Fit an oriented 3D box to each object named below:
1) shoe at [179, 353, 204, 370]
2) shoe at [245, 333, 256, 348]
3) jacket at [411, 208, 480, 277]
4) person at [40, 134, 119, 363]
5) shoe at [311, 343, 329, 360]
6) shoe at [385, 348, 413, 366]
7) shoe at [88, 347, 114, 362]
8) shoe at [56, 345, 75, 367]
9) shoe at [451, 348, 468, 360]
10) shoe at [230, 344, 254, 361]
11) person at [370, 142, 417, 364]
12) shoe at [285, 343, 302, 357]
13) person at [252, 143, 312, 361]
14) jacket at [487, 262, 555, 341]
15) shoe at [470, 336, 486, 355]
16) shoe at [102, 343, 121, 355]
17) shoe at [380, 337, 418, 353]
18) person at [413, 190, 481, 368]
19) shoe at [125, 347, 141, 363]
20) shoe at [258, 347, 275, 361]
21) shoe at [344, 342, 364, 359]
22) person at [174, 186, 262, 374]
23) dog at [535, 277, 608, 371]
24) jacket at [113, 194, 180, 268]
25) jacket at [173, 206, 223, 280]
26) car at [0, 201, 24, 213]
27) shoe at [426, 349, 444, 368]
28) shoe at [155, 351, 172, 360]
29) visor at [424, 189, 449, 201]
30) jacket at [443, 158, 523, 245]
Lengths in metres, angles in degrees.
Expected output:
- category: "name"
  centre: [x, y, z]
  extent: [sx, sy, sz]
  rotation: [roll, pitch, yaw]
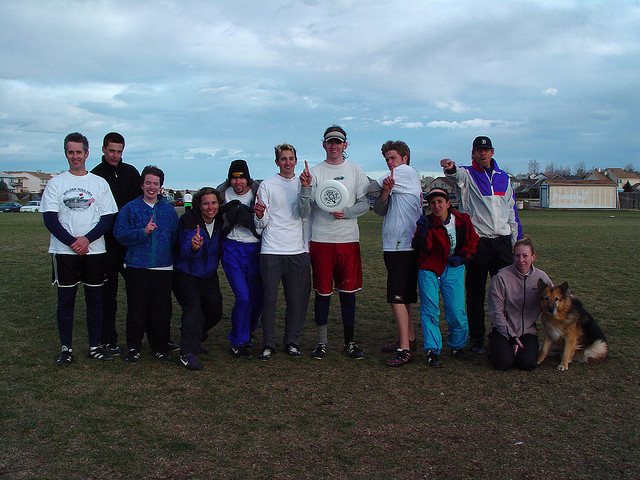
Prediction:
- category: "shoe"
  centre: [-1.607, 1.497, 5.963]
  extent: [0.314, 0.138, 0.131]
  rotation: [17, 30, 23]
- category: "shoe"
  centre: [-0.998, 1.399, 6.780]
  extent: [0.078, 0.233, 0.108]
  rotation: [-5, -19, 30]
- category: "jacket"
  centre: [1.611, 0.033, 6.284]
  extent: [1.073, 0.866, 0.542]
  rotation: [2, 6, -21]
- category: "person"
  centre: [-2.983, 0.119, 5.975]
  extent: [0.834, 2.809, 0.590]
  rotation: [-5, 11, -30]
- category: "shoe"
  centre: [-0.003, 1.465, 6.388]
  extent: [0.151, 0.147, 0.278]
  rotation: [4, 10, 18]
- category: "shoe"
  centre: [1.045, 1.496, 6.112]
  extent: [0.406, 0.178, 0.138]
  rotation: [0, -4, -36]
- category: "shoe"
  centre: [-2.753, 1.460, 6.094]
  extent: [0.414, 0.173, 0.141]
  rotation: [3, 3, 6]
- category: "shoe"
  centre: [-3.182, 1.418, 5.906]
  extent: [0.134, 0.197, 0.199]
  rotation: [-1, 10, -13]
- category: "shoe"
  centre: [1.850, 1.501, 6.301]
  extent: [0.090, 0.098, 0.248]
  rotation: [-4, 0, -24]
- category: "shoe"
  centre: [-1.053, 1.465, 6.325]
  extent: [0.340, 0.151, 0.133]
  rotation: [5, 12, 37]
- category: "person"
  centre: [1.051, 0.138, 6.406]
  extent: [0.601, 2.826, 1.113]
  rotation: [0, 9, -7]
- category: "shoe"
  centre: [-0.365, 1.458, 6.432]
  extent: [0.210, 0.159, 0.185]
  rotation: [0, 10, -6]
- category: "person"
  centre: [-0.486, 0.138, 6.390]
  extent: [0.770, 2.775, 0.703]
  rotation: [-1, 9, -8]
- category: "jacket"
  centre: [2.671, 0.813, 6.227]
  extent: [0.864, 0.984, 0.794]
  rotation: [5, 7, 17]
- category: "shoe"
  centre: [2.190, 1.453, 6.587]
  extent: [0.135, 0.273, 0.385]
  rotation: [1, -12, -3]
- category: "shoe"
  centre: [-2.758, 1.431, 6.284]
  extent: [0.293, 0.121, 0.099]
  rotation: [7, -3, 13]
- category: "shoe"
  centre: [1.145, 1.433, 6.677]
  extent: [0.599, 0.247, 0.197]
  rotation: [2, -4, -20]
- category: "person"
  centre: [1.632, 0.456, 6.242]
  extent: [0.777, 2.182, 0.551]
  rotation: [-6, 11, -34]
- category: "shoe"
  centre: [-2.395, 1.457, 6.064]
  extent: [0.154, 0.164, 0.116]
  rotation: [-3, 10, -22]
- category: "shoe"
  centre: [-0.687, 1.477, 6.336]
  extent: [0.149, 0.151, 0.285]
  rotation: [9, 13, 40]
- category: "shoe"
  centre: [0.463, 1.457, 6.427]
  extent: [0.191, 0.169, 0.381]
  rotation: [-3, 10, -22]
- category: "person"
  centre: [-1.533, 0.428, 6.305]
  extent: [0.659, 2.174, 1.079]
  rotation: [7, 11, 33]
- category: "dog"
  centre: [3.213, 1.065, 6.041]
  extent: [0.851, 1.072, 0.386]
  rotation: [0, 9, -5]
- category: "jacket"
  centre: [-2.231, -0.094, 6.207]
  extent: [0.538, 0.892, 0.963]
  rotation: [12, 10, 35]
- category: "jacket"
  centre: [-1.626, 0.037, 6.295]
  extent: [0.493, 0.919, 0.622]
  rotation: [4, 10, 21]
- category: "car"
  centre: [-37.316, -3.876, 57.396]
  extent: [1.773, 0.871, 2.804]
  rotation: [-2, 10, -16]
- category: "shoe"
  centre: [1.451, 1.503, 6.046]
  extent: [0.110, 0.135, 0.301]
  rotation: [-7, 1, -20]
- category: "shoe"
  centre: [-2.047, 1.493, 6.188]
  extent: [0.239, 0.093, 0.085]
  rotation: [5, 8, 15]
- category: "visor"
  centre: [1.526, -0.574, 6.200]
  extent: [0.263, 0.150, 0.183]
  rotation: [3, 10, 13]
- category: "jacket"
  centre: [2.220, -0.470, 6.556]
  extent: [0.951, 1.489, 0.541]
  rotation: [-11, -7, -9]
